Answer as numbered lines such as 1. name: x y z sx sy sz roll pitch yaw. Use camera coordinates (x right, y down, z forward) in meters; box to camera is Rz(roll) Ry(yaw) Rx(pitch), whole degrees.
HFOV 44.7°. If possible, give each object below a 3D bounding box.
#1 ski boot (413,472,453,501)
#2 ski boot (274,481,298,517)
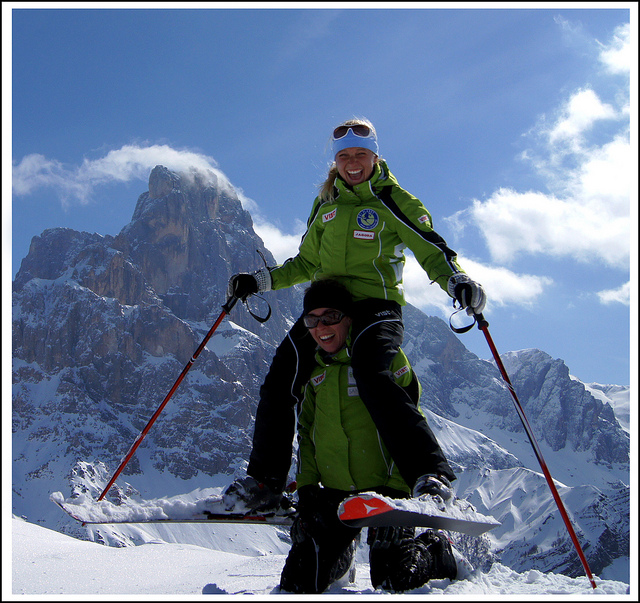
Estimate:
1. ski boot: 1.395 2.232 9.596 0.331 0.367 0.305 -2 -59 12
2. ski boot: -0.459 2.825 11.017 0.163 0.277 0.564 6 -21 5
